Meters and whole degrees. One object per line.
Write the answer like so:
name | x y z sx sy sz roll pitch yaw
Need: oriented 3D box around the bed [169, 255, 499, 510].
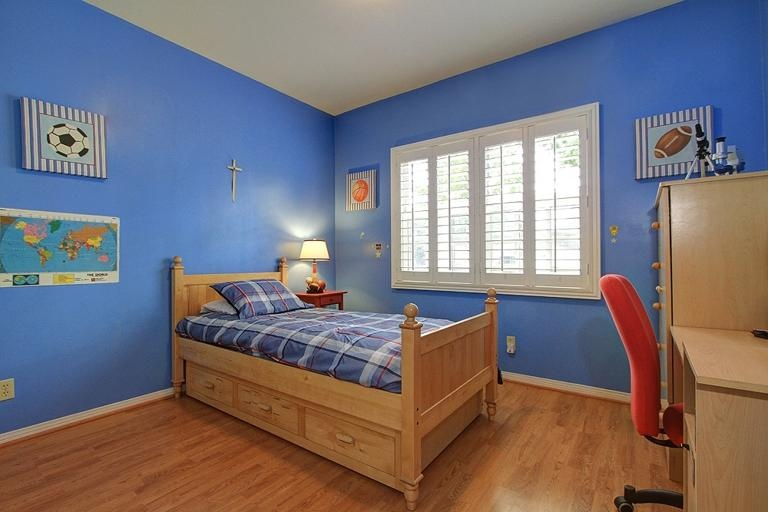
bed | -0.550 0.846 4.643 3.005 1.803 1.792 -2 3 19

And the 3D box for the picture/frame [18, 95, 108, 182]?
picture/frame | -2.780 -1.000 4.335 0.839 0.827 0.059 3 -7 -43

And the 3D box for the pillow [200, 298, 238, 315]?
pillow | -1.586 0.497 4.886 0.201 0.060 0.209 6 7 27

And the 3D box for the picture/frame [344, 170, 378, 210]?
picture/frame | -0.273 -0.793 6.142 0.529 0.537 0.044 1 2 39

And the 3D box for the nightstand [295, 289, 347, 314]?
nightstand | -0.732 0.445 5.769 0.265 0.330 0.375 1 3 31

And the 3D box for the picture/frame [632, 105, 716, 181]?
picture/frame | 2.554 -1.002 4.499 0.620 0.645 0.042 -6 43 20
